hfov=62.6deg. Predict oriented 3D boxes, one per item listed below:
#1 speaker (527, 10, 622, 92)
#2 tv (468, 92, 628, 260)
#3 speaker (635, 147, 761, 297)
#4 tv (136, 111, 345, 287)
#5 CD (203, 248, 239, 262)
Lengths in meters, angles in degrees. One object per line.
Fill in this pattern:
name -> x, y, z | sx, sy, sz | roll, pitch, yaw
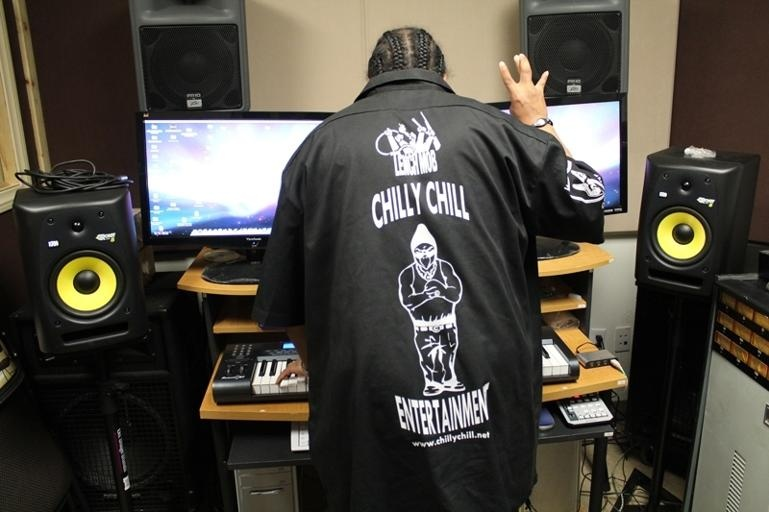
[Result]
speaker -> 0.957, -1.008, 3.196 | 0.396, 0.362, 0.386 | 1, 15, 3
tv -> 0.629, -0.323, 2.421 | 0.715, 0.771, 0.266 | -1, 6, 2
speaker -> 1.425, -0.137, 2.836 | 0.499, 0.611, 0.248 | -3, 7, -11
tv -> -0.606, -0.267, 2.663 | 0.749, 0.597, 0.232 | 0, 5, -6
CD -> -0.798, -0.003, 3.091 | 0.096, 0.015, 0.104 | 5, 22, -8
